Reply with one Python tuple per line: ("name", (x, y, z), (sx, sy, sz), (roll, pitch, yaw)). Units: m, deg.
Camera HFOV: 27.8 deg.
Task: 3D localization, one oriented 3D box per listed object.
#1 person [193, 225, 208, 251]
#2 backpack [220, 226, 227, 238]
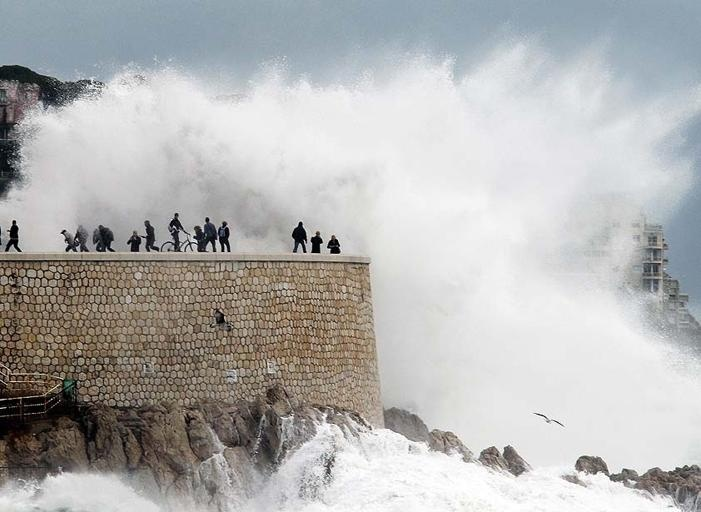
("person", (-5.646, -0.687, 53.890), (0.437, 0.401, 1.320), (-18, 39, 0))
("backpack", (-5.221, -1.010, 58.346), (0.391, 0.600, 0.292), (2, -7, -1))
